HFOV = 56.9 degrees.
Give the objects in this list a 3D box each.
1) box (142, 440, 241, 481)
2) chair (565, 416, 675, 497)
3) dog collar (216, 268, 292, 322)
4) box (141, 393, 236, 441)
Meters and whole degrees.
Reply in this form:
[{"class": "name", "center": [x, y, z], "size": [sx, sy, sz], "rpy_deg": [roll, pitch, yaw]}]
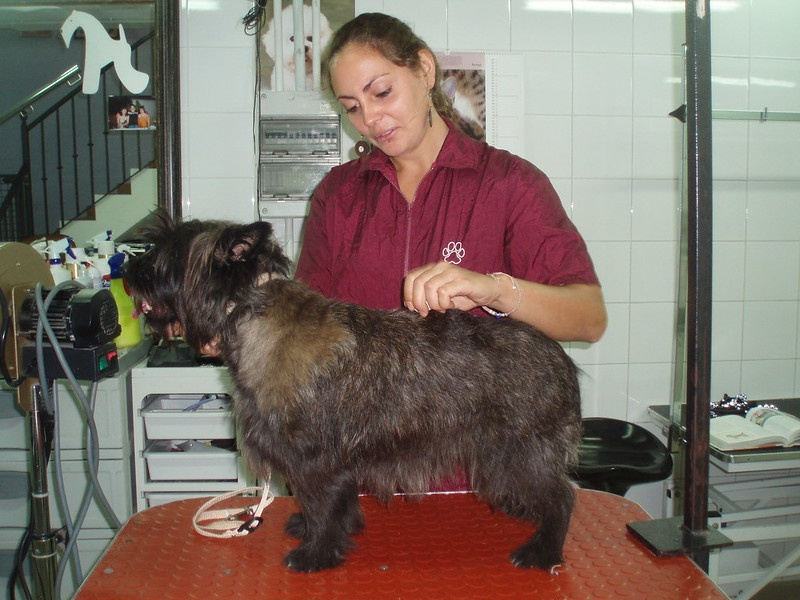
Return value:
[{"class": "box", "center": [-1.235, 0.963, 4.347], "size": [0.371, 0.128, 0.278], "rpy_deg": [2, -8, -3]}, {"class": "chair", "center": [1.292, 0.918, 4.397], "size": [0.556, 0.458, 0.609], "rpy_deg": [0, -14, -7]}, {"class": "dog collar", "center": [-0.602, -0.043, 3.033], "size": [0.208, 0.079, 0.162], "rpy_deg": [-39, 12, -25]}, {"class": "box", "center": [-1.264, 0.701, 4.424], "size": [0.420, 0.144, 0.292], "rpy_deg": [1, -2, -4]}]
